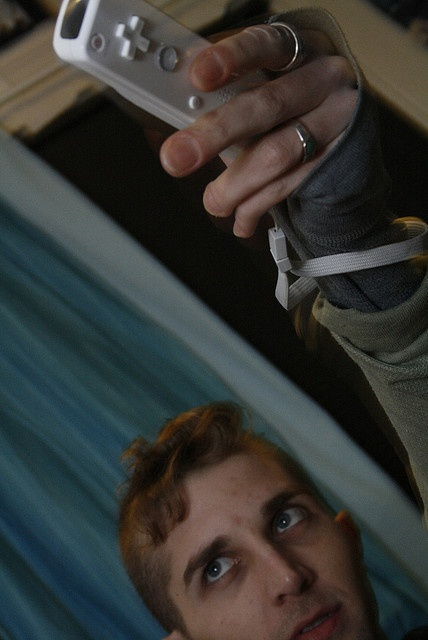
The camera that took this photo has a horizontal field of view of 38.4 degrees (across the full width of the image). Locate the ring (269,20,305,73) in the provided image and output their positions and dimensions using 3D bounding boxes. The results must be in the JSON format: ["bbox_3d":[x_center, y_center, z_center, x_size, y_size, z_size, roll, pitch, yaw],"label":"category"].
[{"bbox_3d":[0.060,-0.225,0.490,0.010,0.036,0.036,-13,92,-21],"label":"ring"}]

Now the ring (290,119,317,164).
[{"bbox_3d":[0.073,-0.141,0.491,0.028,0.023,0.026,0,90,-19],"label":"ring"}]
